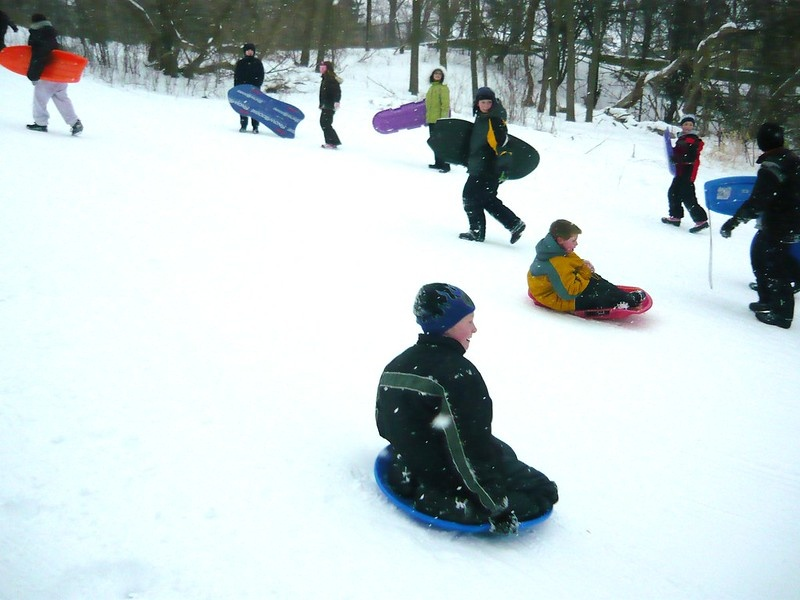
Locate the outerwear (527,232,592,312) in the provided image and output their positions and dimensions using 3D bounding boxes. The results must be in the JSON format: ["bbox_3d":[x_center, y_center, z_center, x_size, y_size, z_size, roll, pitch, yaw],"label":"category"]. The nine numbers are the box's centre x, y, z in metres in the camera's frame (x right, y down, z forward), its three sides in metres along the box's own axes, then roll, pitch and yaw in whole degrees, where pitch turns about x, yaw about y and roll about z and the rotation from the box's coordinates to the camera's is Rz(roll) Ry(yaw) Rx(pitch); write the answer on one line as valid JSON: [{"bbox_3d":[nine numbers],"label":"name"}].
[{"bbox_3d":[1.450,-0.255,7.170,0.542,0.700,0.646,2,24,14],"label":"outerwear"}]

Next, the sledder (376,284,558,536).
[{"bbox_3d":[0.354,0.577,4.693,0.936,1.330,1.278,-5,12,-36],"label":"sledder"}]

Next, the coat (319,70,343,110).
[{"bbox_3d":[-1.080,-3.265,12.580,0.281,0.546,0.411,3,19,-10],"label":"coat"}]

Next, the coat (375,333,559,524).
[{"bbox_3d":[0.322,0.649,4.810,0.885,1.339,1.118,8,-12,-35],"label":"coat"}]

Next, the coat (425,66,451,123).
[{"bbox_3d":[0.581,-2.964,11.790,0.350,0.822,0.445,7,18,0],"label":"coat"}]

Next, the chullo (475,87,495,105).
[{"bbox_3d":[0.901,-2.146,8.463,0.148,0.163,0.206,5,10,23],"label":"chullo"}]

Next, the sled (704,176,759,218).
[{"bbox_3d":[3.606,-1.164,8.798,0.446,0.275,0.554,3,-4,-33],"label":"sled"}]

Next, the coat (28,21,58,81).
[{"bbox_3d":[-4.254,-2.908,9.541,0.265,0.863,0.277,9,-12,-30],"label":"coat"}]

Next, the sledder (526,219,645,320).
[{"bbox_3d":[1.671,-0.285,7.146,1.036,0.790,0.630,4,15,7],"label":"sledder"}]

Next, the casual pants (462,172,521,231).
[{"bbox_3d":[1.014,-1.021,8.783,0.654,0.821,0.412,2,-28,1],"label":"casual pants"}]

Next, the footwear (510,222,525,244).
[{"bbox_3d":[1.296,-0.741,8.846,0.086,0.241,0.169,13,35,-19],"label":"footwear"}]

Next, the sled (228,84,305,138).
[{"bbox_3d":[-2.163,-3.075,13.054,1.458,0.624,0.107,28,13,-31],"label":"sled"}]

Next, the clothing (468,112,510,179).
[{"bbox_3d":[0.915,-1.697,8.745,0.265,0.703,0.701,-5,16,-38],"label":"clothing"}]

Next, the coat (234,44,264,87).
[{"bbox_3d":[-2.447,-3.805,13.071,0.406,0.714,0.848,6,19,-3],"label":"coat"}]

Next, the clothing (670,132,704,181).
[{"bbox_3d":[3.581,-1.800,10.077,0.358,0.613,0.255,12,19,16],"label":"clothing"}]

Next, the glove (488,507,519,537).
[{"bbox_3d":[0.566,1.199,4.332,0.139,0.063,0.129,16,27,42],"label":"glove"}]
